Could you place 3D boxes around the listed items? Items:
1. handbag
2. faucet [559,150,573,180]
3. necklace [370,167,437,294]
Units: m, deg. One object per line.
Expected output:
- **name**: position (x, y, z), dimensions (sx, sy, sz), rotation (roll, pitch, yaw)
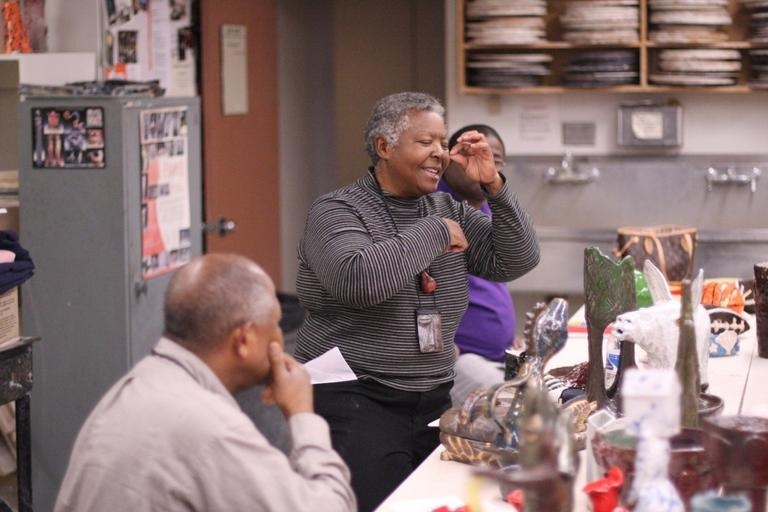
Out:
- **handbag**: position (1.440, -0.031, 3.943), dimensions (0.386, 0.335, 0.490), rotation (1, -2, -43)
- **faucet**: position (1.188, -0.590, 4.948), dimensions (0.085, 0.183, 0.067), rotation (0, 3, 13)
- **necklace**: position (0.111, -0.062, 2.598), dimensions (0.092, 0.463, 0.130), rotation (-23, 6, 16)
